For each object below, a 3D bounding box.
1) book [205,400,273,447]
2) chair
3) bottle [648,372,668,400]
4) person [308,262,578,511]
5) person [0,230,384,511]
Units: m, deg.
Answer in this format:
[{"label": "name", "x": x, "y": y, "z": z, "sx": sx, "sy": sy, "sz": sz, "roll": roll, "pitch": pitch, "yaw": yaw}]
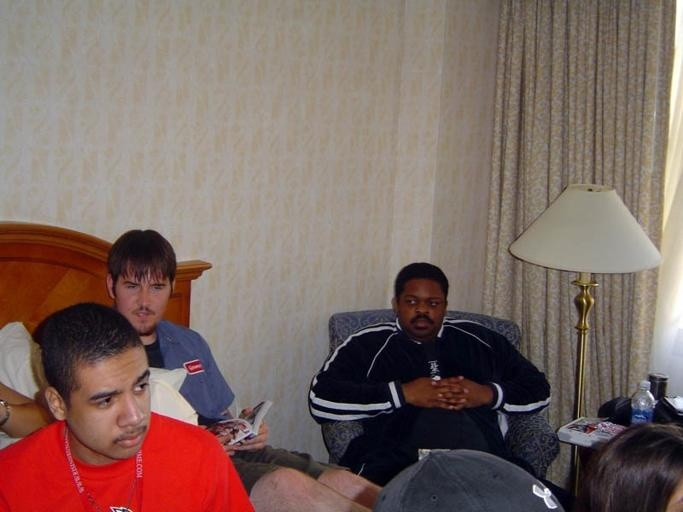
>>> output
[{"label": "book", "x": -0.434, "y": 0.679, "z": 2.339, "sx": 0.253, "sy": 0.108, "sz": 0.147, "roll": 0, "pitch": 2, "yaw": -37}, {"label": "chair", "x": 0.451, "y": 0.687, "z": 2.966, "sx": 1.022, "sy": 1.054, "sz": 0.925, "roll": 1, "pitch": -8, "yaw": -5}, {"label": "bottle", "x": 1.467, "y": 0.589, "z": 2.562, "sx": 0.092, "sy": 0.140, "sz": 0.106, "roll": 1, "pitch": -4, "yaw": 10}, {"label": "person", "x": 0.384, "y": 0.495, "z": 2.630, "sx": 0.807, "sy": 0.794, "sz": 1.145, "roll": -1, "pitch": -2, "yaw": -3}, {"label": "person", "x": -0.482, "y": 0.371, "z": 2.664, "sx": 1.585, "sy": 1.273, "sz": 0.805, "roll": 6, "pitch": 9, "yaw": 25}]
